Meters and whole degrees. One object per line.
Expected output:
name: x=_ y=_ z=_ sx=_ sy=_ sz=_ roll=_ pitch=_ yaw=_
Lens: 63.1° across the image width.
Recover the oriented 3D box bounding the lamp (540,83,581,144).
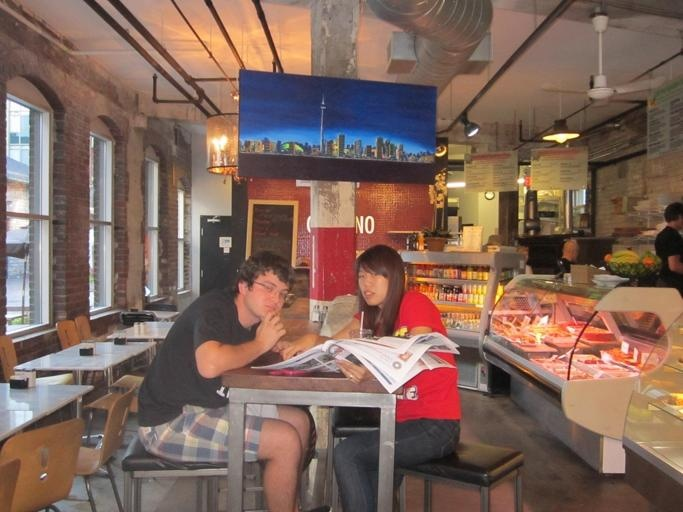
lamp: x=3.507 y=-2.300 z=9.008 sx=0.782 sy=0.855 sz=0.714 roll=1 pitch=14 yaw=29

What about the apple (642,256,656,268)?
apple: x=2.530 y=0.049 z=4.558 sx=0.089 sy=0.086 sz=0.090 roll=0 pitch=-3 yaw=2

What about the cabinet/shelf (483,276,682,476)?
cabinet/shelf: x=2.070 y=1.013 z=4.712 sx=0.681 sy=1.172 sz=1.711 roll=3 pitch=-1 yaw=-5

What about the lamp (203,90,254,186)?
lamp: x=-1.805 y=-1.731 z=8.024 sx=0.901 sy=1.542 sz=0.917 roll=3 pitch=7 yaw=0

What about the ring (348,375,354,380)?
ring: x=0.054 y=0.647 z=2.962 sx=0.015 sy=0.007 sz=0.020 roll=-2 pitch=14 yaw=-41

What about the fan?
fan: x=2.927 y=-2.311 z=6.321 sx=1.283 sy=0.980 sz=1.238 roll=-12 pitch=14 yaw=-19

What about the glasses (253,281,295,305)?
glasses: x=-0.443 y=0.200 z=3.513 sx=0.181 sy=0.060 sz=0.179 roll=29 pitch=3 yaw=36

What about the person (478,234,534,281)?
person: x=2.344 y=0.018 z=7.897 sx=0.477 sy=0.580 sz=0.861 roll=-1 pitch=0 yaw=15

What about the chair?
chair: x=-2.867 y=1.652 z=6.378 sx=1.107 sy=1.217 sz=1.953 roll=0 pitch=3 yaw=-1
